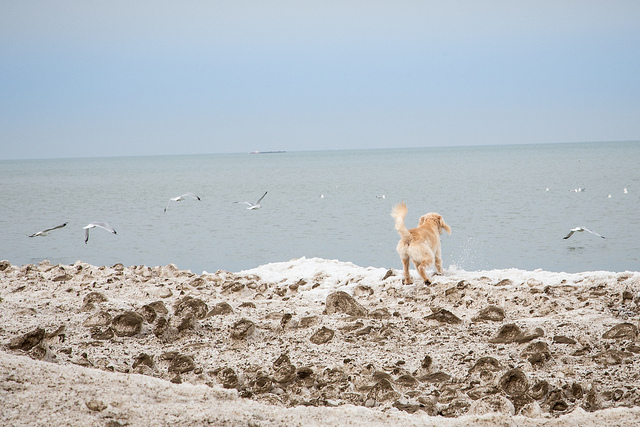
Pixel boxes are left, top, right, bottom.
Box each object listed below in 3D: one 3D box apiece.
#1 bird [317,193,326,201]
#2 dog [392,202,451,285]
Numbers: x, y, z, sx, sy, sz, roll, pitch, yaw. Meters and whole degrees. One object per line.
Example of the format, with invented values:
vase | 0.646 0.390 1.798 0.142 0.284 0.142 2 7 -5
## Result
bird | 0.086 -0.672 43.198 0.320 0.296 0.289 1 10 2
dog | 2.607 0.778 25.788 1.211 2.078 3.033 -1 1 22
